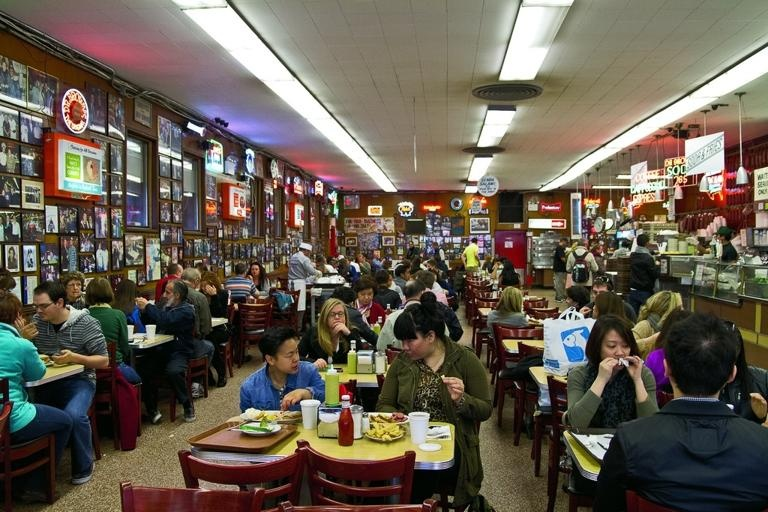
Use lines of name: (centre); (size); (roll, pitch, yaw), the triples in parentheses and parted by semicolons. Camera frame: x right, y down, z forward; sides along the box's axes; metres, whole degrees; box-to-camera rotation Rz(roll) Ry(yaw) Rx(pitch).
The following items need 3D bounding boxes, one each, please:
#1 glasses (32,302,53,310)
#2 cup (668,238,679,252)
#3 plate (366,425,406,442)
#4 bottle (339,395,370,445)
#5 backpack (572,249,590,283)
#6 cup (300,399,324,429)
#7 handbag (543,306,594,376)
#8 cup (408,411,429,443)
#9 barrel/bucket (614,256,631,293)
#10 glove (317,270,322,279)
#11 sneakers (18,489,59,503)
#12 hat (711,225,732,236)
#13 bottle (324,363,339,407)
glasses: (-3.504, 0.509, 5.805); (0.155, 0.048, 0.162); (-1, -20, 4)
cup: (6.814, -0.264, 13.255); (0.293, 0.321, 0.298); (0, -2, 0)
plate: (0.007, 1.258, 4.005); (0.268, 0.087, 0.138); (1, 8, 6)
bottle: (-0.234, 1.136, 3.977); (0.163, 0.328, 0.202); (0, 8, -2)
backpack: (5.154, 0.275, 14.848); (0.488, 0.800, 0.455); (-3, 3, 13)
cup: (-0.522, 1.165, 4.194); (0.187, 0.164, 0.182); (2, 0, 0)
handbag: (1.706, 0.775, 5.079); (0.563, 0.550, 0.253); (-3, -1, -16)
cup: (0.252, 1.197, 3.998); (0.130, 0.214, 0.184); (0, 8, 3)
barrel/bucket: (5.884, 0.426, 14.044); (0.647, 0.813, 0.655); (2, 7, 0)
glove: (-1.493, 0.416, 13.177); (0.128, 0.149, 0.165); (-1, -10, -1)
sneakers: (-3.160, 2.180, 5.155); (0.366, 0.109, 0.134); (1, 8, 10)
hat: (7.634, -0.583, 12.696); (0.441, 0.247, 0.314); (10, 9, 34)
bottle: (-0.386, 0.977, 4.240); (0.099, 0.248, 0.277); (-1, 8, -4)
